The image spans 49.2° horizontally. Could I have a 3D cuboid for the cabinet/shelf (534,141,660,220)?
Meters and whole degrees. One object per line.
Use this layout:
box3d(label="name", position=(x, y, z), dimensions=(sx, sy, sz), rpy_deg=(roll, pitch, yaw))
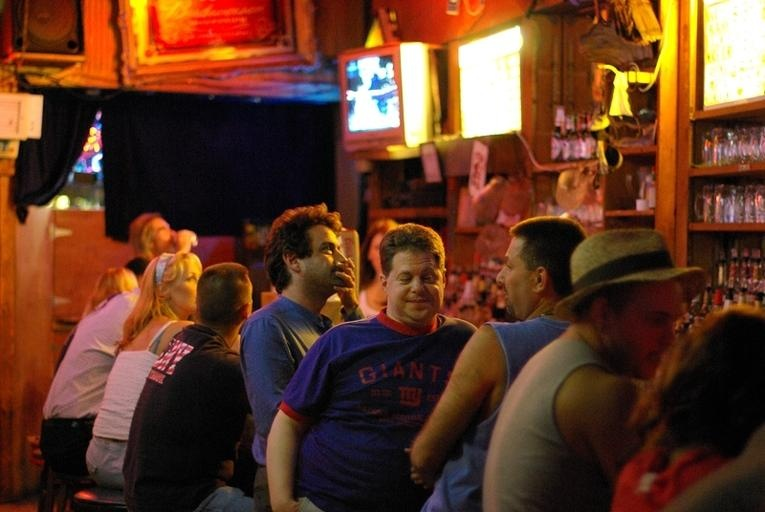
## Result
box3d(label="cabinet/shelf", position=(1.476, -0.475, 5.780), dimensions=(0.352, 0.521, 1.061), rpy_deg=(-2, 3, -33))

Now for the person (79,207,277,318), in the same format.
box3d(label="person", position=(-1.695, 0.012, 6.583), dimensions=(0.933, 0.968, 0.313), rpy_deg=(3, 0, -7))

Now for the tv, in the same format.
box3d(label="tv", position=(0.034, -1.317, 6.916), dimensions=(0.880, 0.899, 0.493), rpy_deg=(-2, -1, 34))

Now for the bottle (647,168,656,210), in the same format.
box3d(label="bottle", position=(1.742, -0.440, 5.453), dimensions=(0.060, 0.254, 0.260), rpy_deg=(0, 3, 17))

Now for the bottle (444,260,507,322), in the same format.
box3d(label="bottle", position=(0.730, 0.290, 6.505), dimensions=(0.437, 0.452, 0.151), rpy_deg=(0, -5, 19))

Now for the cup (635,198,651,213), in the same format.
box3d(label="cup", position=(1.691, -0.331, 5.440), dimensions=(0.077, 0.082, 0.074), rpy_deg=(0, -4, 0))
